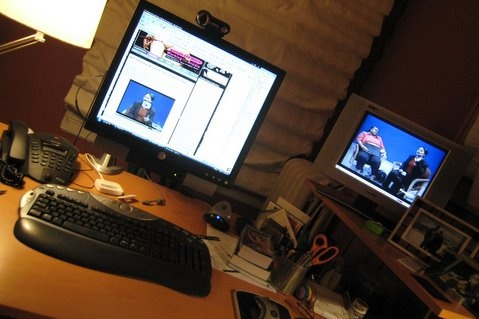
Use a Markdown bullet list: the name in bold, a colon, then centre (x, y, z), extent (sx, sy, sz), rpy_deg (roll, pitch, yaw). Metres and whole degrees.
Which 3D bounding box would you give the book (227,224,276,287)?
- **book**: centre (0.056, 0.399, 1.633), extent (0.246, 0.194, 0.298), rpy_deg (2, 19, -3)

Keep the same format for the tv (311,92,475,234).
- **tv**: centre (0.758, 0.034, 1.805), extent (0.575, 0.491, 0.296), rpy_deg (29, -4, 9)

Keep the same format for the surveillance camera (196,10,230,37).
- **surveillance camera**: centre (-0.123, -0.583, 1.652), extent (0.170, 0.121, 0.176), rpy_deg (-10, 20, -41)
